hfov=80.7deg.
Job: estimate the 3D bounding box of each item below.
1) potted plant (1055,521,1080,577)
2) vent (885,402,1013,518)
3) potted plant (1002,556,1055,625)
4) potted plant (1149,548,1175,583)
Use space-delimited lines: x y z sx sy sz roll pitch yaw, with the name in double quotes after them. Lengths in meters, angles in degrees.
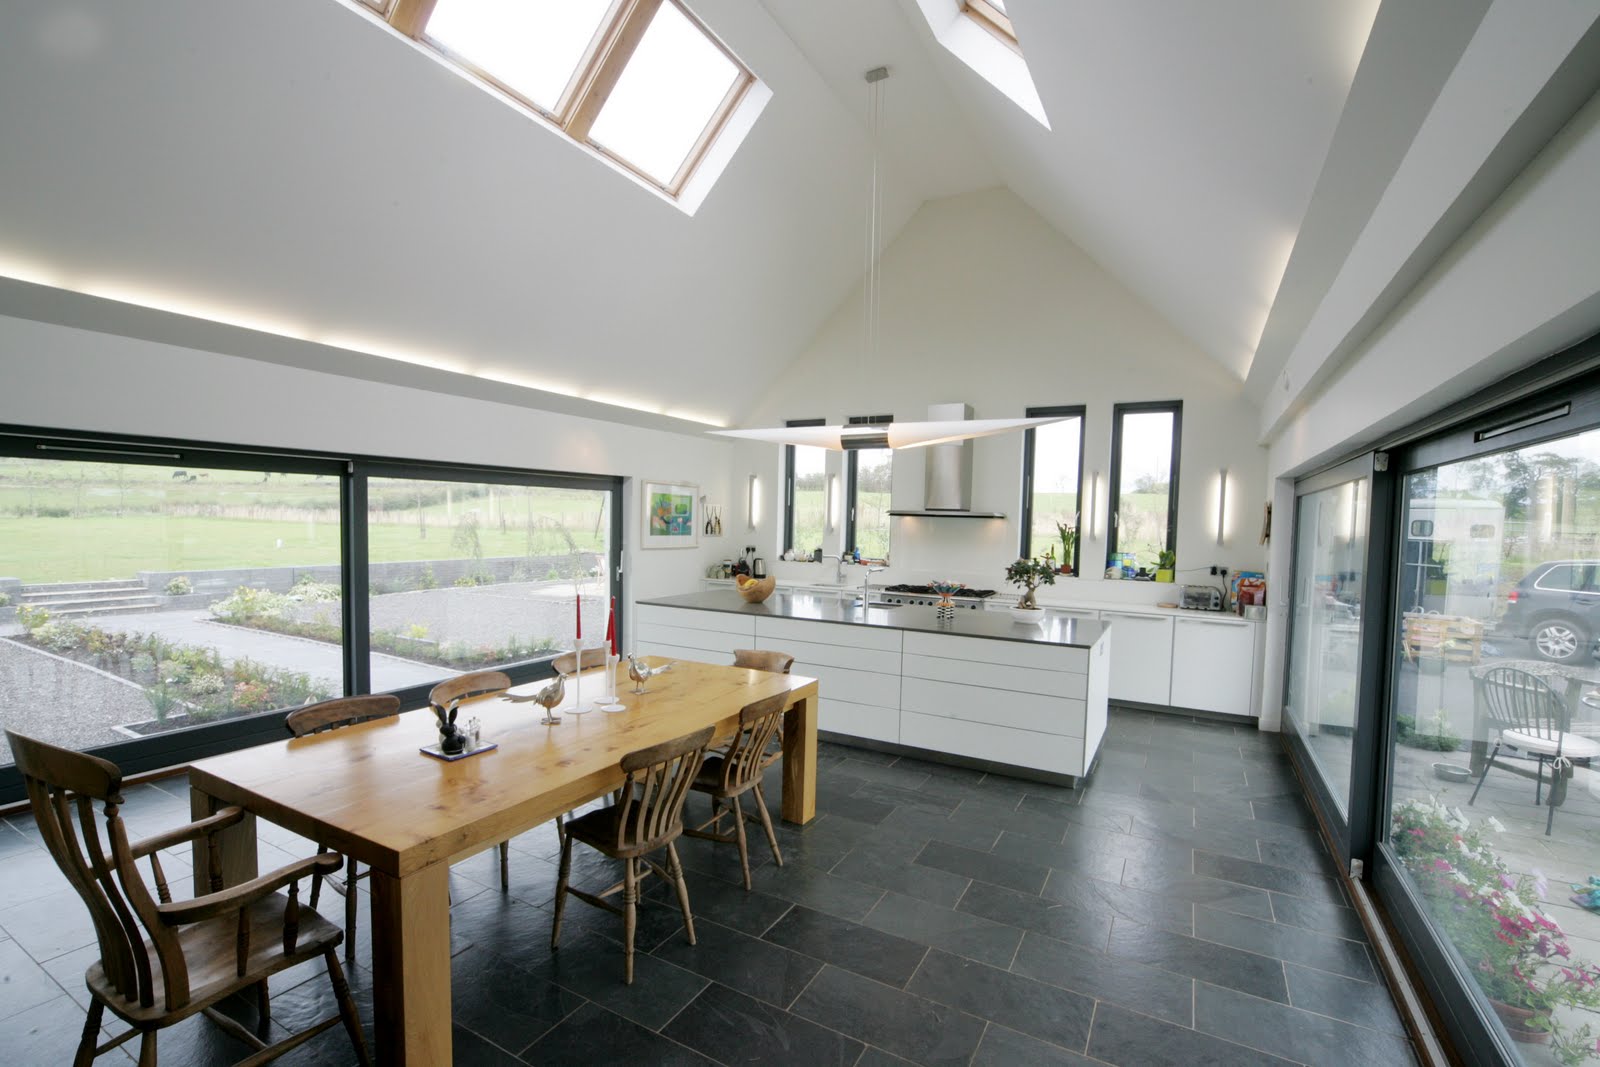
2.668 0.158 9.346 0.213 0.489 0.186 5 12 16 "potted plant"
1.560 -0.746 9.741 1.736 1.243 0.902 3 -5 8 "vent"
2.064 0.486 8.395 0.481 0.628 0.580 -3 3 -15 "potted plant"
3.461 0.326 8.951 0.261 0.260 0.246 -5 6 -42 "potted plant"
